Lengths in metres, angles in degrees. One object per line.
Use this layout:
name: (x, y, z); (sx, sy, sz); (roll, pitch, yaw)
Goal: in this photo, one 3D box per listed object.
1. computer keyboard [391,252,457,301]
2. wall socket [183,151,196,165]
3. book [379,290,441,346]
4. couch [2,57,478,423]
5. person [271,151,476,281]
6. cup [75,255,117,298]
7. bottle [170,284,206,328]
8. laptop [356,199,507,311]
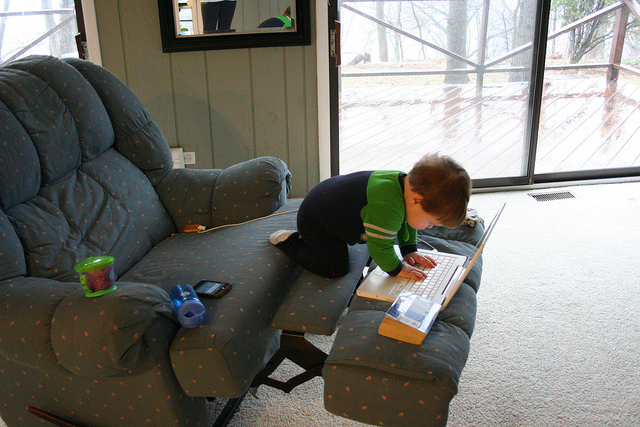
computer keyboard: (0.511, 0.281, 2.139); (0.026, 0.304, 0.591); (15, 4, 42)
wall socket: (-1.072, -0.452, 3.730); (0.107, 0.096, 0.025); (-2, 11, -4)
book: (0.373, 0.428, 1.883); (0.167, 0.056, 0.239); (19, 46, 17)
couch: (-0.584, 0.121, 2.198); (2.108, 1.534, 1.196); (7, 17, 7)
person: (0.238, 0.005, 2.319); (0.972, 0.654, 0.511); (13, 23, 24)
cup: (-0.880, 0.249, 1.826); (0.140, 0.140, 0.117); (10, 18, 16)
bottle: (-0.559, 0.391, 1.911); (0.086, 0.087, 0.140); (-33, 36, -10)
laptop: (0.509, 0.277, 2.127); (0.524, 0.342, 0.563); (15, 36, 21)
